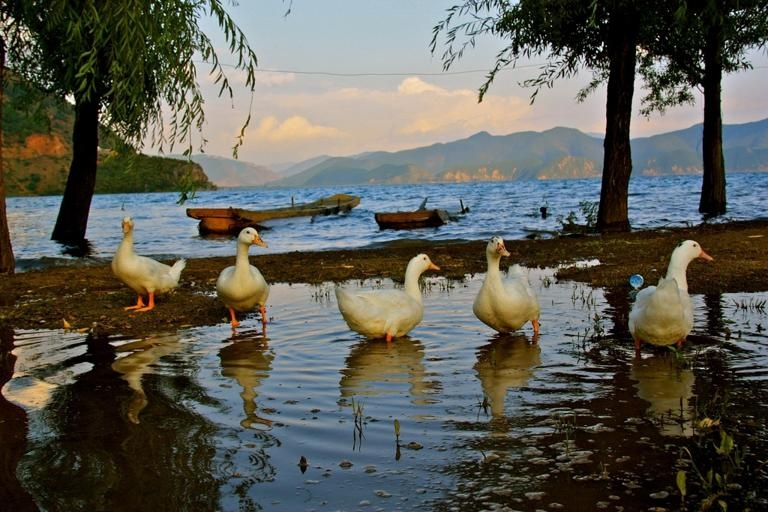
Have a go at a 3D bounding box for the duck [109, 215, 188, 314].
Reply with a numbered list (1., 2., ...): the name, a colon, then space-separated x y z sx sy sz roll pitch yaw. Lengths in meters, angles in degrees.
1. duck: -5.170 0.130 15.142 0.987 1.876 1.097 -3 12 9

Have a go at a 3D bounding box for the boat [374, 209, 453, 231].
1. boat: 1.480 -1.966 37.010 3.600 0.901 2.300 -4 10 -7
